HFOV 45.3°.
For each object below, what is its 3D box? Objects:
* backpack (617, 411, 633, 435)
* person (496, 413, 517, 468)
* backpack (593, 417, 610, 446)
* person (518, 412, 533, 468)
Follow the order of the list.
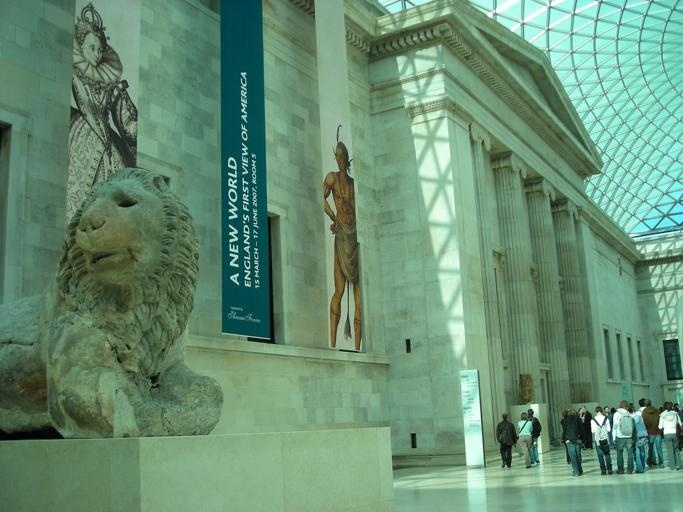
[{"bbox_3d":[6.432,3.832,18.600,0.350,0.486,0.347,-10,-18,16],"label":"backpack"},{"bbox_3d":[4.244,4.719,21.116,0.463,1.472,1.172,-7,-17,10],"label":"person"},{"bbox_3d":[5.849,3.934,18.675,0.310,0.653,0.327,-10,-18,20],"label":"backpack"},{"bbox_3d":[4.754,4.757,21.166,0.412,1.448,1.710,-7,-18,11],"label":"person"}]
